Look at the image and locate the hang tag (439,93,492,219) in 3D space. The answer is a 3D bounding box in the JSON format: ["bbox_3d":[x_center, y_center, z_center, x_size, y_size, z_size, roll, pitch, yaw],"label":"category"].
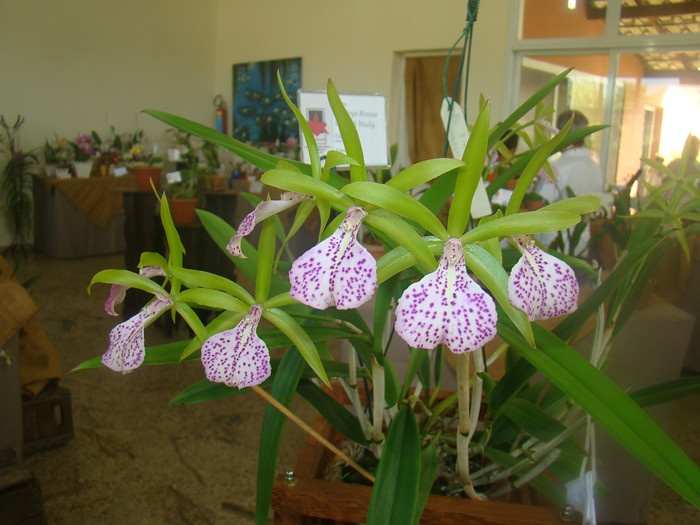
[{"bbox_3d":[0.225,-0.235,1.159,0.073,0.015,0.334,-9,57,0],"label":"hang tag"}]

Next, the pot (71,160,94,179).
[{"bbox_3d":[-1.961,-0.686,4.235,0.135,0.116,0.109,-9,18,-31],"label":"pot"}]

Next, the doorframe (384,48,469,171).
[{"bbox_3d":[0.893,-1.745,6.535,0.652,1.792,0.138,0,64,4],"label":"doorframe"}]

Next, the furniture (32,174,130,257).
[{"bbox_3d":[-2.039,-0.413,4.565,0.582,0.623,0.349,-7,22,-40],"label":"furniture"}]

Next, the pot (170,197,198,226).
[{"bbox_3d":[-1.020,-0.316,3.545,0.167,0.187,0.237,-5,17,-18],"label":"pot"}]

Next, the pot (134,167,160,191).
[{"bbox_3d":[-1.365,-0.573,3.897,0.167,0.167,0.506,-4,18,-16],"label":"pot"}]

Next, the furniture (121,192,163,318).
[{"bbox_3d":[-1.379,-0.199,3.931,0.354,0.633,0.368,-3,10,-18],"label":"furniture"}]

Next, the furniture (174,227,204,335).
[{"bbox_3d":[-1.054,0.073,3.840,0.230,0.326,1.127,3,34,-18],"label":"furniture"}]

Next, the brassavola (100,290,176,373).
[{"bbox_3d":[-0.386,0.113,1.091,0.075,0.060,0.210,30,49,-4],"label":"brassavola"}]

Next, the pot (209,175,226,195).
[{"bbox_3d":[-0.939,-0.566,4.125,0.110,0.131,0.129,1,19,4],"label":"pot"}]

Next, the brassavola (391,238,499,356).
[{"bbox_3d":[0.150,0.034,0.872,0.143,0.243,0.058,6,49,10],"label":"brassavola"}]

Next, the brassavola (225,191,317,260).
[{"bbox_3d":[-0.147,-0.071,1.037,0.166,0.050,0.091,-41,37,7],"label":"brassavola"}]

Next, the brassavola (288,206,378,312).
[{"bbox_3d":[-0.028,0.002,0.926,0.140,0.169,0.100,-1,15,-7],"label":"brassavola"}]

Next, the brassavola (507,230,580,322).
[{"bbox_3d":[0.301,0.030,0.958,0.144,0.138,0.087,-6,16,-22],"label":"brassavola"}]

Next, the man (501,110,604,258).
[{"bbox_3d":[1.248,-0.388,3.523,0.270,0.810,0.266,5,37,12],"label":"man"}]

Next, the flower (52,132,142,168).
[{"bbox_3d":[-1.923,-0.790,4.350,0.571,0.224,0.415,-14,40,-22],"label":"flower"}]
